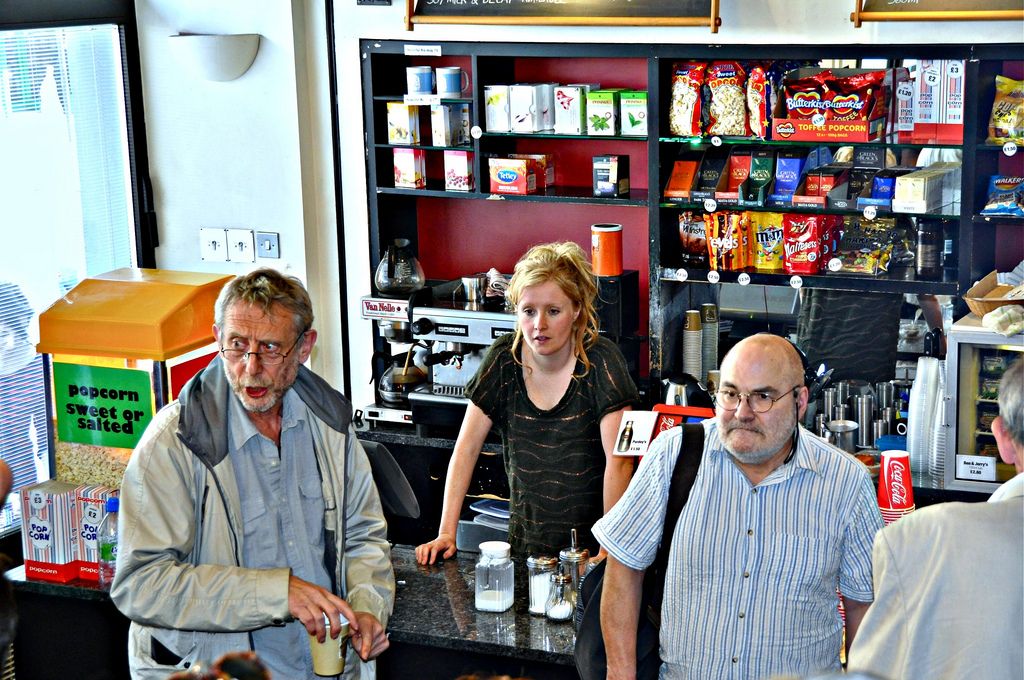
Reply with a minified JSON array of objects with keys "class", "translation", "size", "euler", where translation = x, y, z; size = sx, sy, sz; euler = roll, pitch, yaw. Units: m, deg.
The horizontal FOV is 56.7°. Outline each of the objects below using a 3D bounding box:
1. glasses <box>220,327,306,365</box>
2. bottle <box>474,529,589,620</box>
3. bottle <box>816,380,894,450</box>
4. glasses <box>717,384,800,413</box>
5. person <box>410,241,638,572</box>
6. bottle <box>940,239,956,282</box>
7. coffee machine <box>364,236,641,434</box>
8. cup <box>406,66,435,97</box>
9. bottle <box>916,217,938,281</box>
[{"class":"glasses","translation":[-0.724,0.020,2.775],"size":[0.244,0.078,0.110],"euler":[-1,6,-17]},{"class":"bottle","translation":[0.071,0.755,3.019],"size":[0.272,0.217,0.124],"euler":[1,6,12]},{"class":"bottle","translation":[1.648,0.345,4.493],"size":[0.423,0.402,0.249],"euler":[3,5,31]},{"class":"glasses","translation":[0.682,0.159,2.610],"size":[0.224,0.071,0.089],"euler":[2,6,11]},{"class":"person","translation":[0.090,0.518,3.506],"size":[0.803,1.591,0.734],"euler":[-2,18,10]},{"class":"bottle","translation":[1.937,-0.364,4.200],"size":[0.066,0.193,0.161],"euler":[3,7,24]},{"class":"coffee machine","translation":[-0.044,-0.015,4.217],"size":[1.092,0.708,0.585],"euler":[-1,0,25]},{"class":"cup","translation":[-0.476,-1.324,4.836],"size":[0.172,0.149,0.133],"euler":[0,4,-5]},{"class":"bottle","translation":[1.868,-0.415,4.248],"size":[0.105,0.246,0.098],"euler":[0,6,0]}]
